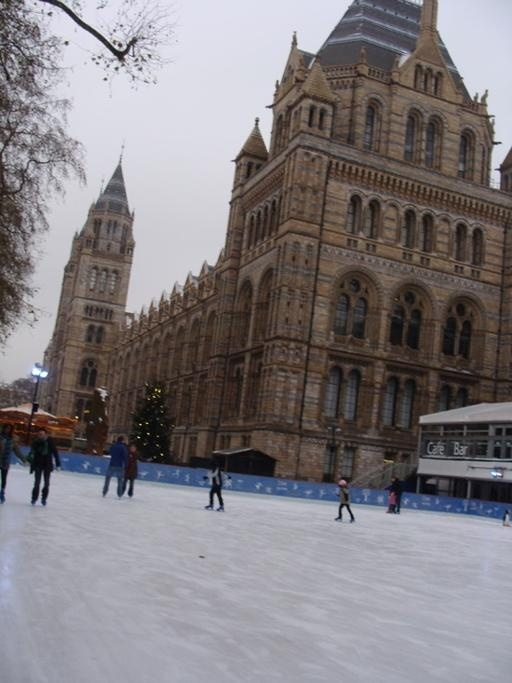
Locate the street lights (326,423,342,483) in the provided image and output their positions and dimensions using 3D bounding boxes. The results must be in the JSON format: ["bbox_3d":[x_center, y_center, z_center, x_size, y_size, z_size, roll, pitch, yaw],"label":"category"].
[{"bbox_3d":[4.652,7.133,37.976,0.655,3.114,0.905,3,-13,27],"label":"street lights"}]
